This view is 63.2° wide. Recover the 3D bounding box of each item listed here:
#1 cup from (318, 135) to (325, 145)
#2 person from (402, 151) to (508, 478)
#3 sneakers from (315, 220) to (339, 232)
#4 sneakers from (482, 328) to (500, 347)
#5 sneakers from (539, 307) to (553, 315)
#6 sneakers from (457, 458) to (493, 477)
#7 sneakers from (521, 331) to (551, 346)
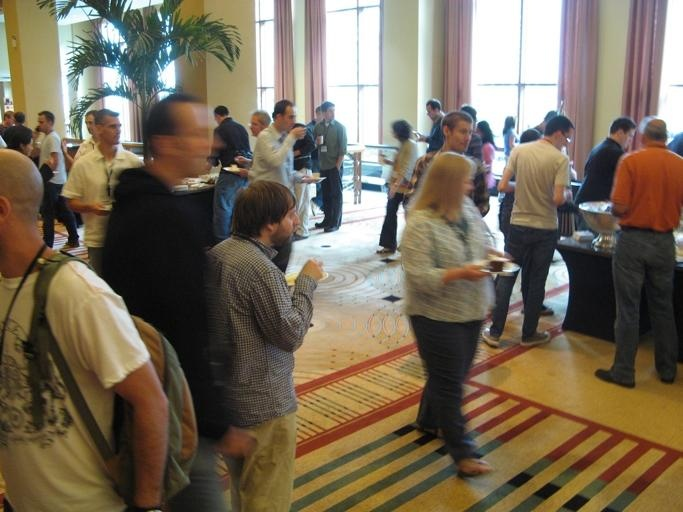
[{"bbox_3d":[-0.292,-1.831,8.713,0.116,0.139,0.119,1,0,0],"label":"cup"},{"bbox_3d":[0.574,0.324,2.874,0.503,1.692,0.432,1,14,11],"label":"person"},{"bbox_3d":[-0.232,-0.452,8.637,0.154,0.202,0.455,-7,0,-35],"label":"sneakers"},{"bbox_3d":[1.236,0.676,4.599,0.081,0.085,0.195,1,18,-10],"label":"sneakers"},{"bbox_3d":[1.938,0.524,5.262,0.077,0.092,0.214,-3,-3,4],"label":"sneakers"},{"bbox_3d":[0.684,1.086,2.829,0.159,0.090,0.073,-1,8,6],"label":"sneakers"},{"bbox_3d":[1.616,0.701,4.612,0.250,0.109,0.106,-14,13,-28],"label":"sneakers"}]
